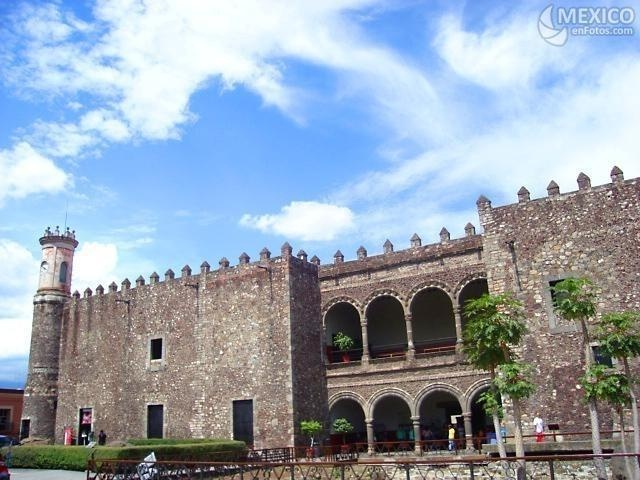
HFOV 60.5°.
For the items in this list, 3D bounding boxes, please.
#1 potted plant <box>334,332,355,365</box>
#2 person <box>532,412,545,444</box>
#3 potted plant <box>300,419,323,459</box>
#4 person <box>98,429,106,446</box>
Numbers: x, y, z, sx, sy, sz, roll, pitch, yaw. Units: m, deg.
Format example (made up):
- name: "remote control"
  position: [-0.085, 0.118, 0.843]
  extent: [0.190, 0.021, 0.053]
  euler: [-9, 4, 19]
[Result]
- name: "potted plant"
  position: [1.486, 5.880, 30.013]
  extent: [0.929, 1.415, 0.982]
  euler: [5, -18, -12]
- name: "person"
  position: [8.486, 7.294, 21.278]
  extent: [0.430, 0.998, 1.375]
  euler: [-10, -22, 18]
- name: "potted plant"
  position: [-0.428, 9.886, 27.406]
  extent: [1.105, 1.719, 1.249]
  euler: [3, -7, -8]
- name: "person"
  position: [-13.022, 11.833, 32.944]
  extent: [0.511, 0.849, 1.556]
  euler: [5, -22, -20]
